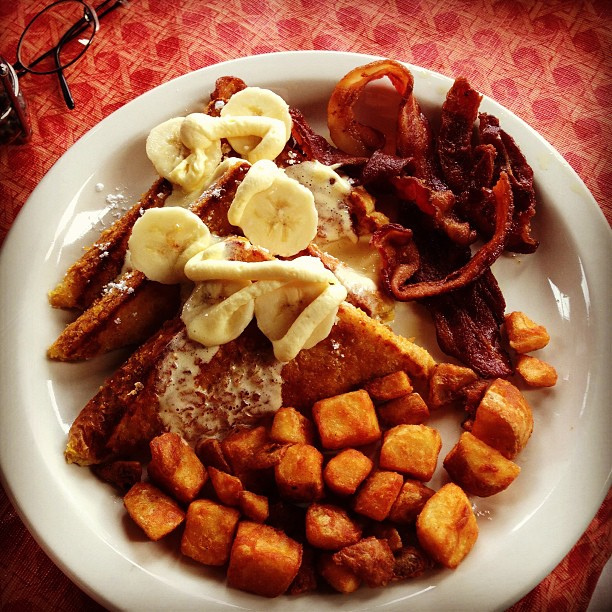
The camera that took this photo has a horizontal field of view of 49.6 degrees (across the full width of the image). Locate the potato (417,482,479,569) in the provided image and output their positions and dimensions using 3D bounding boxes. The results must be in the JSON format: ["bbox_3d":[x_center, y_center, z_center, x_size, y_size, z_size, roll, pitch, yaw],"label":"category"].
[{"bbox_3d":[0.475,0.733,2.228,0.268,0.079,0.230,-26,101,-32],"label":"potato"}]

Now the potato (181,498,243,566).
[{"bbox_3d":[-0.326,0.776,2.294,0.263,0.090,0.191,8,88,7],"label":"potato"}]

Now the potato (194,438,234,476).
[{"bbox_3d":[-0.327,0.531,2.387,0.150,0.115,0.039,20,33,32],"label":"potato"}]

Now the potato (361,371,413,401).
[{"bbox_3d":[0.306,0.295,2.434,0.145,0.032,0.125,-6,32,19],"label":"potato"}]

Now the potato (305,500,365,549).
[{"bbox_3d":[0.101,0.749,2.271,0.219,0.056,0.165,8,36,-5],"label":"potato"}]

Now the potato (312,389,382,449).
[{"bbox_3d":[0.143,0.410,2.388,0.211,0.064,0.184,-12,70,-6],"label":"potato"}]

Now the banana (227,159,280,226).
[{"bbox_3d":[-0.190,-0.398,2.296,0.074,0.134,0.260,34,54,25],"label":"banana"}]

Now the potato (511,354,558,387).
[{"bbox_3d":[0.887,0.245,2.555,0.157,0.119,0.132,9,70,2],"label":"potato"}]

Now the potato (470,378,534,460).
[{"bbox_3d":[0.719,0.408,2.432,0.238,0.153,0.234,22,30,19],"label":"potato"}]

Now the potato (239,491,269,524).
[{"bbox_3d":[-0.170,0.681,2.298,0.133,0.105,0.040,8,40,22],"label":"potato"}]

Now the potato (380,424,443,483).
[{"bbox_3d":[0.361,0.515,2.360,0.270,0.063,0.199,-9,73,-27],"label":"potato"}]

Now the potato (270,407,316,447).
[{"bbox_3d":[-0.044,0.436,2.362,0.169,0.044,0.136,9,54,-20],"label":"potato"}]

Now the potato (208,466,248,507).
[{"bbox_3d":[-0.277,0.615,2.304,0.093,0.058,0.150,-47,69,16],"label":"potato"}]

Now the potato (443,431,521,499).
[{"bbox_3d":[0.615,0.584,2.405,0.228,0.194,0.192,34,73,10],"label":"potato"}]

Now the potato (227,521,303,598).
[{"bbox_3d":[-0.137,0.854,2.288,0.259,0.226,0.152,16,106,4],"label":"potato"}]

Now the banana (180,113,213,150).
[{"bbox_3d":[-0.417,-0.661,2.525,0.129,0.084,0.141,-3,70,-3],"label":"banana"}]
